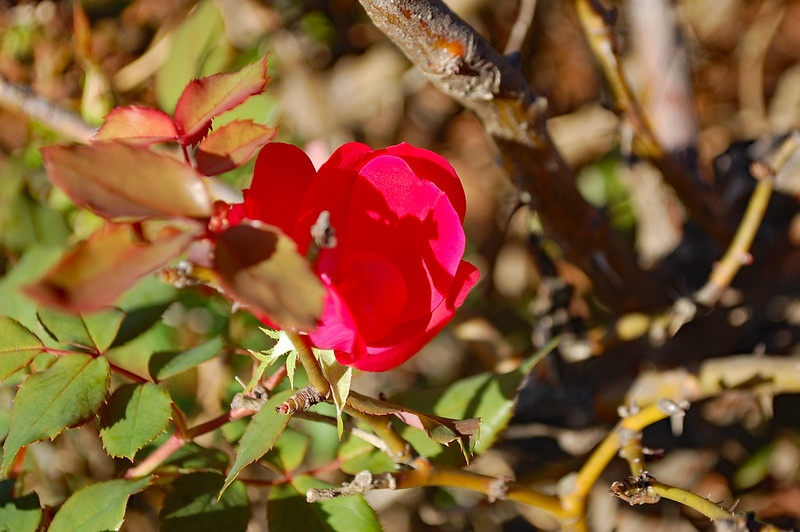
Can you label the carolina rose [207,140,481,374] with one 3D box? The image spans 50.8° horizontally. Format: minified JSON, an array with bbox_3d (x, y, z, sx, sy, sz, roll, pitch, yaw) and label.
[{"bbox_3d":[-0.047,-0.043,1.078,0.268,0.302,0.132,-49,-4,6],"label":"carolina rose"}]
